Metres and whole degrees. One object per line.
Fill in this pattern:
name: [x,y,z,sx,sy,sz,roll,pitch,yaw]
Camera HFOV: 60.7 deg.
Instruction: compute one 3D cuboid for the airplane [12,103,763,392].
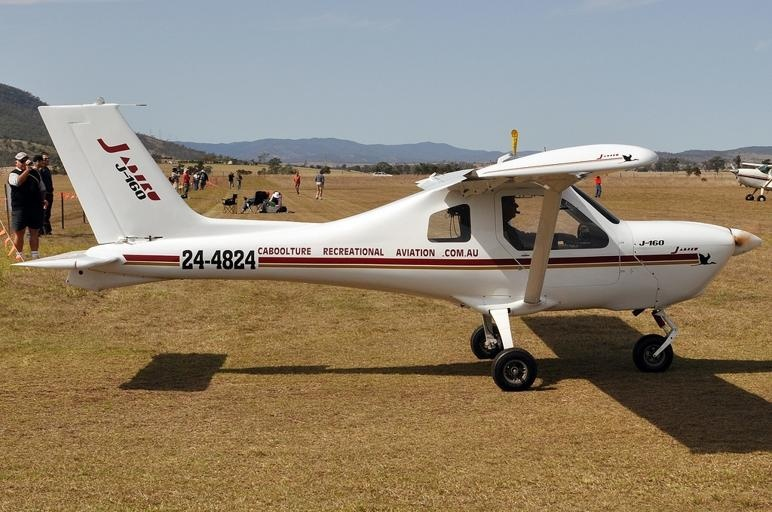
airplane: [0.013,-0.054,11.776,9.678,2.080,7.969,0,3,-2]
